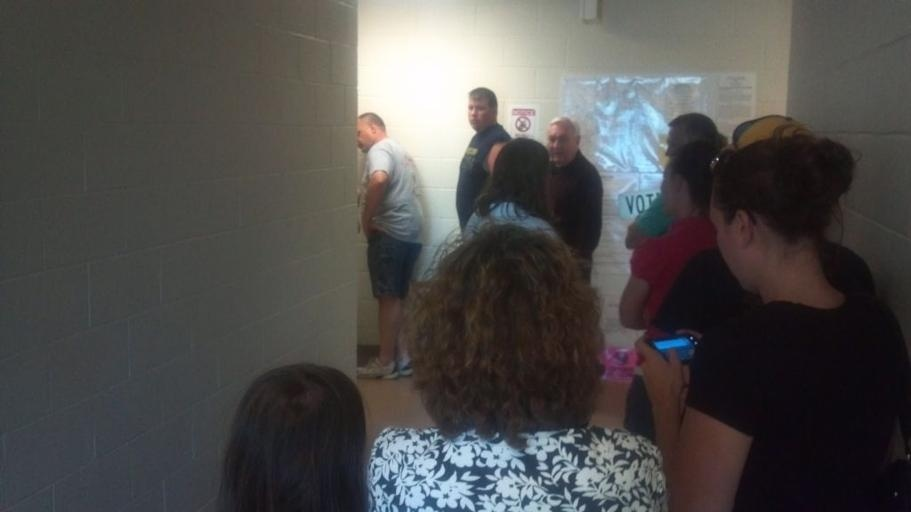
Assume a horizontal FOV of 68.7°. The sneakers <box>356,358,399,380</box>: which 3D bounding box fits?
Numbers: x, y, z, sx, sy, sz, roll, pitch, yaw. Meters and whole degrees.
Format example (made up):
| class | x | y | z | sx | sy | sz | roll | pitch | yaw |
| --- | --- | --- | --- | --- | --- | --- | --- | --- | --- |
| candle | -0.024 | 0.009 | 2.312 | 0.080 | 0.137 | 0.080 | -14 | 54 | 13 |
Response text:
| class | x | y | z | sx | sy | sz | roll | pitch | yaw |
| --- | --- | --- | --- | --- | --- | --- | --- | --- | --- |
| sneakers | -0.435 | 0.625 | 3.712 | 0.201 | 0.081 | 0.105 | 4 | 2 | 7 |
